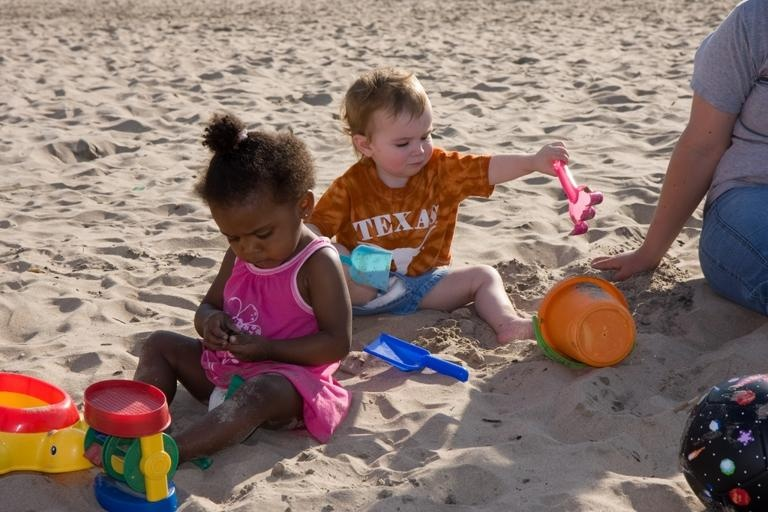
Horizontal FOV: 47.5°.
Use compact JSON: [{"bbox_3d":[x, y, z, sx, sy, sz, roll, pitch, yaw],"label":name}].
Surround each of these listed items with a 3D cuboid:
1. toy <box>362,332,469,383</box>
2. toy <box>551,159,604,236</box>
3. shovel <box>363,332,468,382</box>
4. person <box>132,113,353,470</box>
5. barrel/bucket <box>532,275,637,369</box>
[{"bbox_3d":[0.135,0.536,4.663,0.619,0.137,0.195,20,56,24],"label":"toy"},{"bbox_3d":[1.071,-0.340,4.795,0.135,0.244,0.434,-10,52,-41],"label":"toy"},{"bbox_3d":[0.143,0.539,4.655,0.615,0.134,0.194,21,56,24],"label":"shovel"},{"bbox_3d":[-0.678,0.134,4.201,1.015,1.454,0.923,-6,33,-14],"label":"person"},{"bbox_3d":[1.010,0.331,4.569,0.544,0.442,0.364,-2,4,-7],"label":"barrel/bucket"}]
